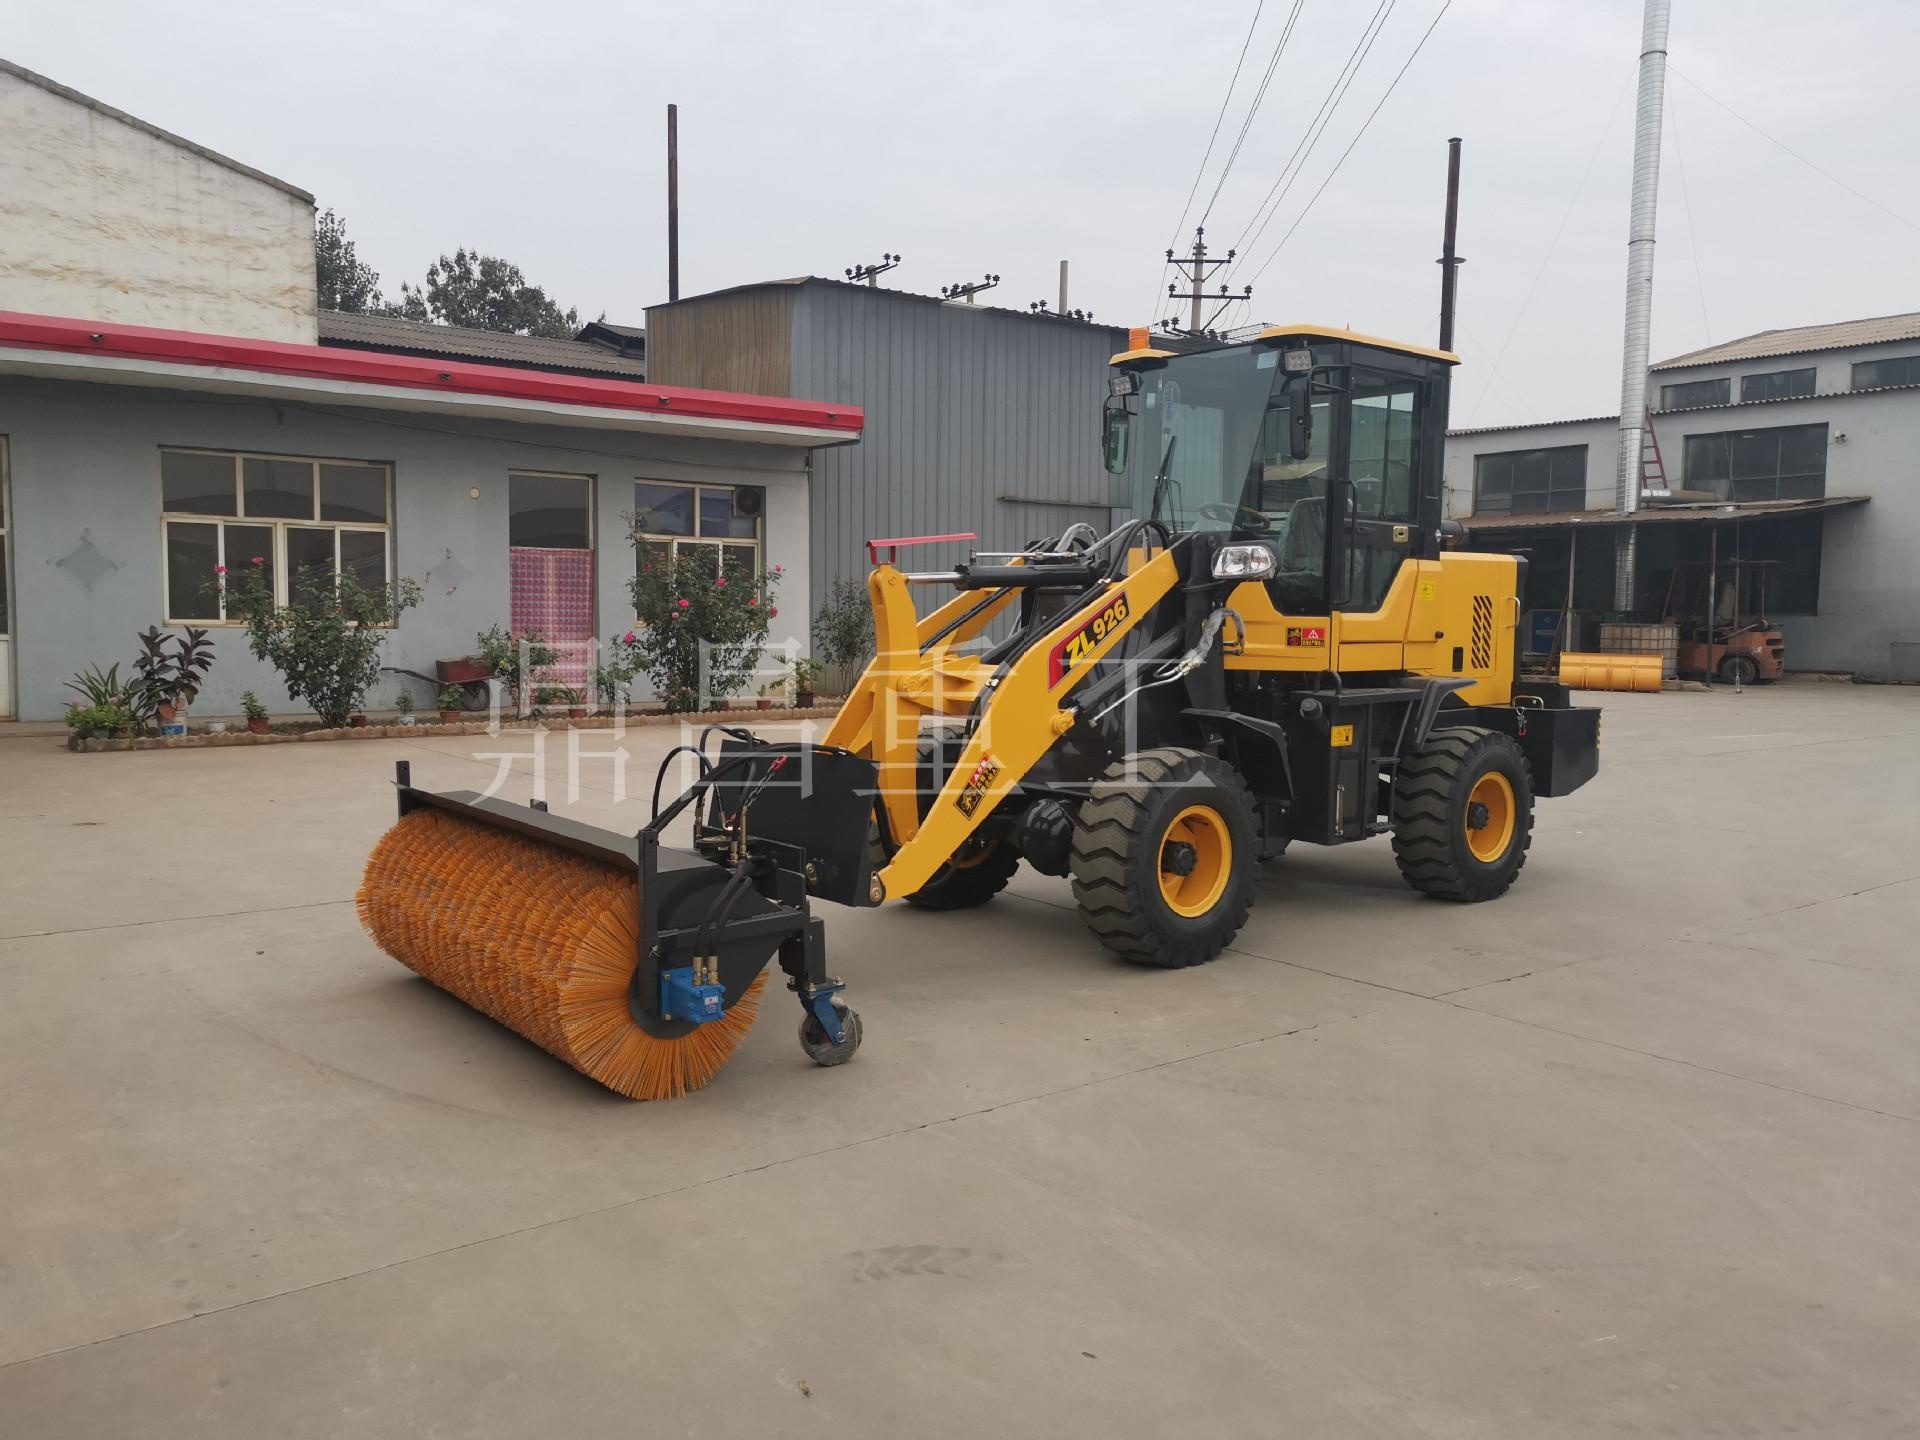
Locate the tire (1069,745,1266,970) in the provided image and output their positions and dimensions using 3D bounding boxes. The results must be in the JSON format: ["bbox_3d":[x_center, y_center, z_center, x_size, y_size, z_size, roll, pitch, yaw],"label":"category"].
[{"bbox_3d":[0.975,0.679,7.399,0.252,0.807,0.786,6,-13,46],"label":"tire"}]

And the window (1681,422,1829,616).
[{"bbox_3d":[14.937,-3.627,29.044,0.162,4.858,3.383,6,-9,-22],"label":"window"}]

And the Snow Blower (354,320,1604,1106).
[{"bbox_3d":[0.408,-0.225,8.589,6.542,3.673,2.981,1,2,-41],"label":"Snow Blower"}]

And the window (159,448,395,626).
[{"bbox_3d":[-6.813,-1.786,15.257,0.207,1.463,1.800,1,1,44],"label":"window"}]

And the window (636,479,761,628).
[{"bbox_3d":[-3.010,-1.862,17.489,1.762,1.392,0.137,-3,9,-43],"label":"window"}]

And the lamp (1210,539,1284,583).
[{"bbox_3d":[1.445,-0.795,7.870,0.222,0.137,0.216,-5,3,-11],"label":"lamp"}]

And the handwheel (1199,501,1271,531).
[{"bbox_3d":[1.447,-1.054,8.205,0.201,0.087,0.202,7,-2,-40],"label":"handwheel"}]

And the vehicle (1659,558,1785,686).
[{"bbox_3d":[13.613,-1.827,27.798,1.854,1.944,4.172,8,16,24],"label":"vehicle"}]

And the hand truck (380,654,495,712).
[{"bbox_3d":[-5.379,-0.363,16.174,0.894,0.533,0.508,-2,3,-25],"label":"hand truck"}]

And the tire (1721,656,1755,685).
[{"bbox_3d":[13.073,-0.818,26.102,0.367,0.399,0.132,22,9,37],"label":"tire"}]
